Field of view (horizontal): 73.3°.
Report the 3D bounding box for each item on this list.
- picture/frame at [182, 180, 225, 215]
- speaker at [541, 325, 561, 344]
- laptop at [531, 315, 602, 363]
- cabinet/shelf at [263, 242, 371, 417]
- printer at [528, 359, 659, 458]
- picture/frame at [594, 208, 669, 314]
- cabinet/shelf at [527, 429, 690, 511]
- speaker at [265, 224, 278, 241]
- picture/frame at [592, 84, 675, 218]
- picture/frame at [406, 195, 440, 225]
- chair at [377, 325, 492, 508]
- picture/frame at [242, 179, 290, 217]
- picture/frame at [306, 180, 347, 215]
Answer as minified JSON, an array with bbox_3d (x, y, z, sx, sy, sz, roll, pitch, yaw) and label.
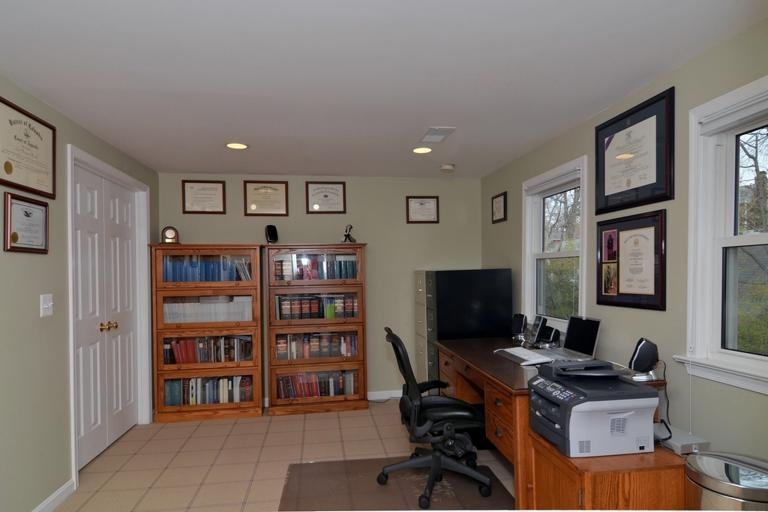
[{"bbox_3d":[-2.073,-0.662,5.893,0.483,0.383,0.039,0,3,-3],"label":"picture/frame"},{"bbox_3d":[1.512,0.729,4.712,0.160,0.108,0.157,2,-9,-4],"label":"speaker"},{"bbox_3d":[1.524,0.679,4.217,0.377,0.270,0.395,0,-2,-11],"label":"laptop"},{"bbox_3d":[-0.757,0.806,5.738,1.070,1.836,0.371,-2,9,-8],"label":"cabinet/shelf"},{"bbox_3d":[1.348,0.949,3.382,0.632,0.422,0.604,-2,-4,-5],"label":"printer"},{"bbox_3d":[1.892,0.042,3.901,0.076,1.026,0.888,0,0,-19],"label":"picture/frame"},{"bbox_3d":[1.411,1.385,3.248,0.554,0.602,0.666,1,-8,-5],"label":"cabinet/shelf"},{"bbox_3d":[-1.294,-0.244,5.887,0.144,0.206,0.239,-3,8,-13],"label":"speaker"},{"bbox_3d":[1.888,-0.794,3.855,0.094,1.154,1.015,1,-2,-18],"label":"picture/frame"},{"bbox_3d":[0.440,-0.550,6.271,0.394,0.305,0.031,0,-2,-11],"label":"picture/frame"},{"bbox_3d":[0.468,1.593,4.768,1.294,1.501,1.234,-2,-3,-3],"label":"chair"},{"bbox_3d":[-1.412,-0.664,5.975,0.481,0.368,0.036,0,-2,-10],"label":"picture/frame"},{"bbox_3d":[-0.716,-0.687,6.080,0.460,0.352,0.034,0,-3,-11],"label":"picture/frame"}]
